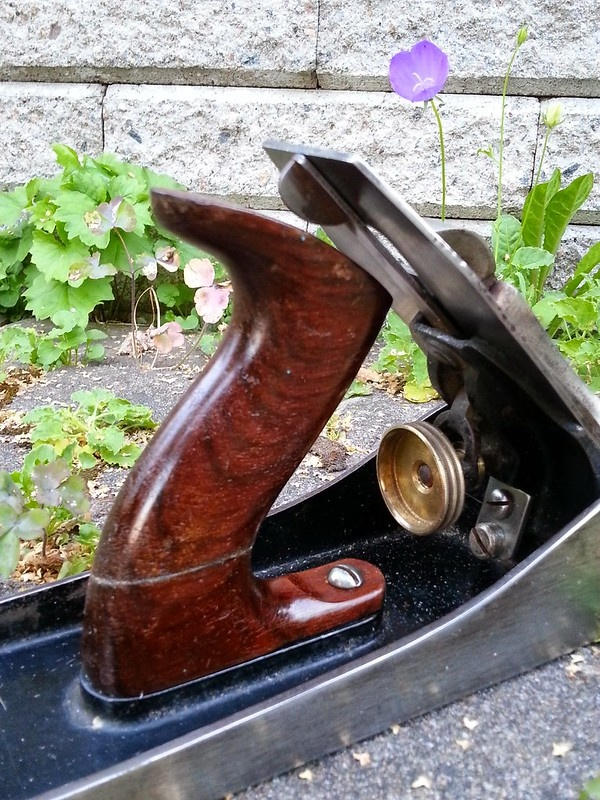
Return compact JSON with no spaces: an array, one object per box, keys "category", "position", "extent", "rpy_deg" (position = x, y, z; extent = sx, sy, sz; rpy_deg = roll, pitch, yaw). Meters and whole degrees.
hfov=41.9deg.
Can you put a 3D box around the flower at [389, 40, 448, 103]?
[{"category":"flower","position":[0.167,-0.443,1.076],"extent":[0.084,0.065,0.052],"rpy_deg":[-22,-11,31]}]
